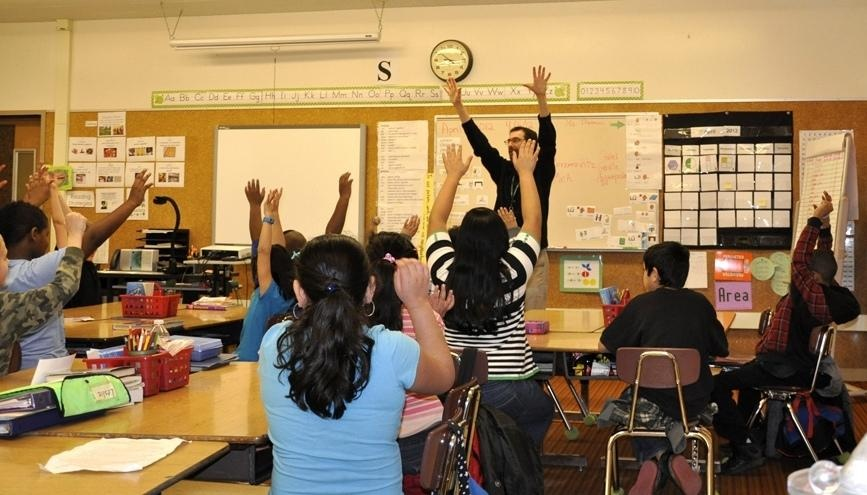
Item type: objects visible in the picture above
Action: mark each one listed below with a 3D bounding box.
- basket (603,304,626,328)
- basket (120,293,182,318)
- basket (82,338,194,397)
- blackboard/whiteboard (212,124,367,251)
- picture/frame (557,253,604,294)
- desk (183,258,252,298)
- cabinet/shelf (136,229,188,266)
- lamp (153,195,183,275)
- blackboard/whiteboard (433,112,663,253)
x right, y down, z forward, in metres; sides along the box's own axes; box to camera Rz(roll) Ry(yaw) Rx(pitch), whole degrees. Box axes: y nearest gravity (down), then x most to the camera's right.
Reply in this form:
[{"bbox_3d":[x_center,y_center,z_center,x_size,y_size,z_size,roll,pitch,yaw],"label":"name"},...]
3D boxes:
[{"bbox_3d":[1.447,0.549,5.316,0.196,0.195,0.218,-1,-1,9],"label":"basket"},{"bbox_3d":[-2.493,0.516,5.792,0.358,0.141,0.250,0,-3,5],"label":"basket"},{"bbox_3d":[-1.820,0.737,4.041,0.484,0.196,0.330,-2,0,-41],"label":"basket"},{"bbox_3d":[-1.540,-0.704,7.321,1.790,1.186,0.070,0,1,3],"label":"blackboard/whiteboard"},{"bbox_3d":[1.717,0.316,7.616,0.518,0.400,0.050,-1,2,11],"label":"picture/frame"},{"bbox_3d":[-2.435,0.349,7.708,0.673,0.581,0.652,0,-3,20],"label":"desk"},{"bbox_3d":[-3.207,-0.002,8.289,0.862,0.368,0.738,2,-4,-6],"label":"cabinet/shelf"},{"bbox_3d":[-3.194,-0.170,7.848,0.328,0.930,1.057,1,0,-23],"label":"lamp"},{"bbox_3d":[1.315,-0.644,6.516,1.869,1.051,0.076,0,-1,6],"label":"blackboard/whiteboard"}]
